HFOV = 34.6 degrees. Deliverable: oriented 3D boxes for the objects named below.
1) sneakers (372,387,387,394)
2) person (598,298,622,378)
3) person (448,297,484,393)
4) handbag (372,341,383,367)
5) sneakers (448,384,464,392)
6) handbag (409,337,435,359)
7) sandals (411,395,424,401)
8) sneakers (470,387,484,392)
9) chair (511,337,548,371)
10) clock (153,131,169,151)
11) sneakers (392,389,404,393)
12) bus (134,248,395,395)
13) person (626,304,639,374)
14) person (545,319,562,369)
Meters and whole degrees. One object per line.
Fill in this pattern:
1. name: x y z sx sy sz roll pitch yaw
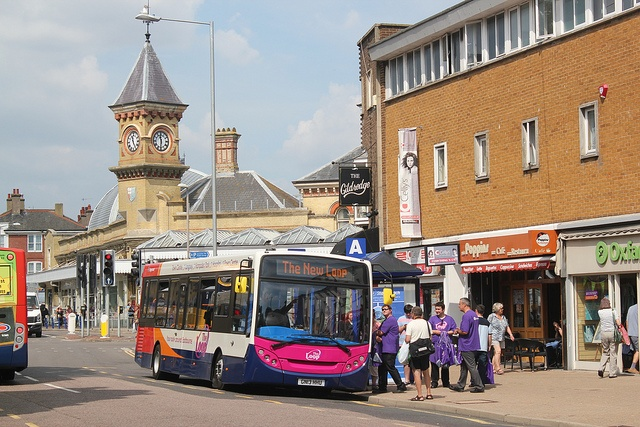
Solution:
1. sneakers: 1.727 5.119 29.931 0.416 0.281 0.153 -2 -1 6
2. person: 8.585 3.689 30.618 0.657 2.310 0.955 -2 -10 14
3. person: 4.160 3.668 28.871 0.761 2.631 1.001 -1 -10 7
4. handbag: 1.627 4.046 29.734 0.216 0.493 0.381 3 -5 -5
5. sneakers: 3.895 4.948 29.306 0.136 0.171 0.395 1 5 -30
6. handbag: 2.727 3.634 28.007 0.588 0.417 0.298 -14 -13 -18
7. sandals: 2.612 4.944 27.689 0.327 0.127 0.136 4 -5 12
8. sneakers: 4.363 4.910 28.730 0.375 0.159 0.139 4 2 18
9. chair: 6.824 4.514 34.120 1.029 1.273 1.162 -2 1 -42
10. clock: -13.736 -6.262 87.983 1.768 1.729 0.125 0 -2 -40
11. sneakers: 2.255 5.082 29.571 0.291 0.112 0.108 5 -4 -4
12. bus: -2.597 3.504 33.258 4.030 4.011 11.721 8 -8 -24
13. person: 9.486 3.818 31.259 0.345 2.044 0.874 -2 -11 16
14. person: 7.778 4.354 34.248 0.514 1.435 0.920 -2 -10 13
